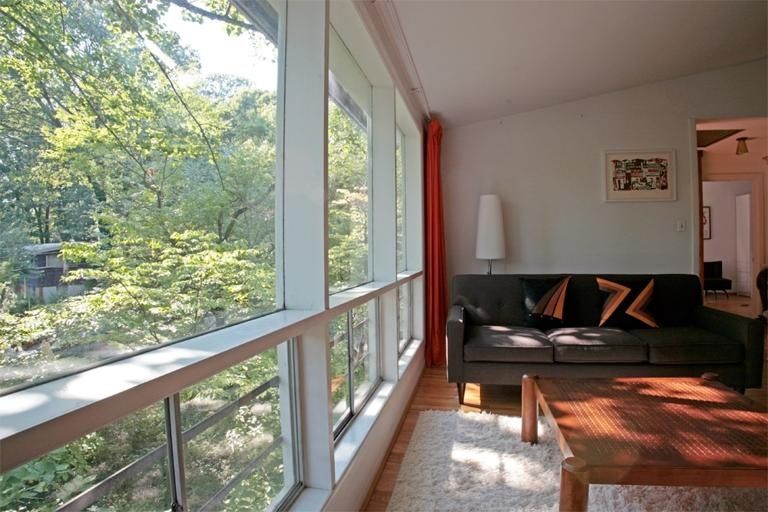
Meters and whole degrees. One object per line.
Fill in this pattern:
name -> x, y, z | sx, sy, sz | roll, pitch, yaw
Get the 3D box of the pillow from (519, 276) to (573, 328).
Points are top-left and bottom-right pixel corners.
pillow -> 1.358, 0.396, 4.202 | 0.418, 0.446, 0.176 | 1, -39, 14

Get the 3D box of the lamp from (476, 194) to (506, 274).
lamp -> 1.070, -0.303, 5.068 | 0.264, 0.629, 0.307 | 0, 7, 10

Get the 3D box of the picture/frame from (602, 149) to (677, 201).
picture/frame -> 2.545, -0.793, 4.975 | 0.560, 0.405, 0.024 | 0, -2, 7

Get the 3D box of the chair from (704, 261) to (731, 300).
chair -> 5.829, 0.420, 8.849 | 0.584, 0.591, 0.561 | -4, -13, 28

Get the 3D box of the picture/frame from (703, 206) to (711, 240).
picture/frame -> 5.981, -0.611, 9.370 | 0.177, 0.615, 0.099 | 0, 7, 9
